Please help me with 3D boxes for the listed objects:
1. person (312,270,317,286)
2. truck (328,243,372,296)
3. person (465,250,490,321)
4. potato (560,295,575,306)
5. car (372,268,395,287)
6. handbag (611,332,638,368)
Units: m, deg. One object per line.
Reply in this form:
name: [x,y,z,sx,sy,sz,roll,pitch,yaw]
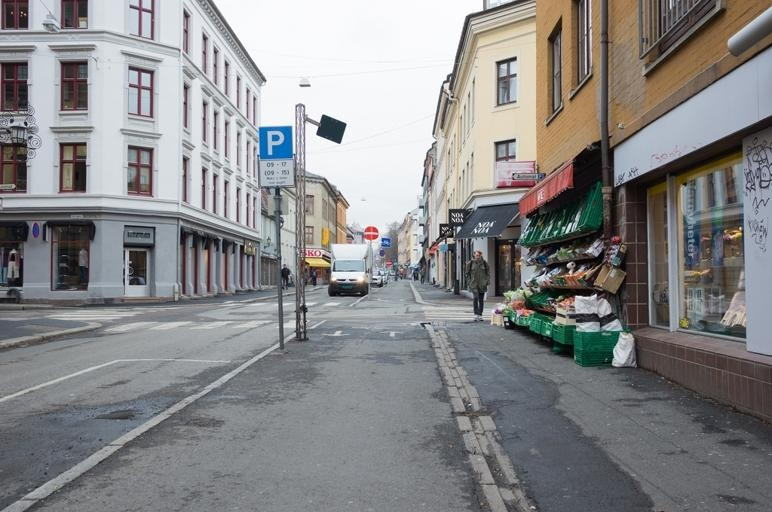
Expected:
person: [-6.596,2.130,58.805,0.389,1.424,1.949,-2,5,-14]
truck: [-2.246,0.935,40.377,1.648,2.204,3.861,0,-5,1]
person: [2.946,0.960,20.656,0.638,2.289,1.316,0,5,7]
potato: [3.792,0.962,13.405,0.223,0.075,0.240,-9,17,40]
car: [-0.241,2.774,81.491,1.932,1.950,8.779,-1,-4,4]
handbag: [4.368,1.699,11.758,0.459,0.670,0.415,3,13,5]
